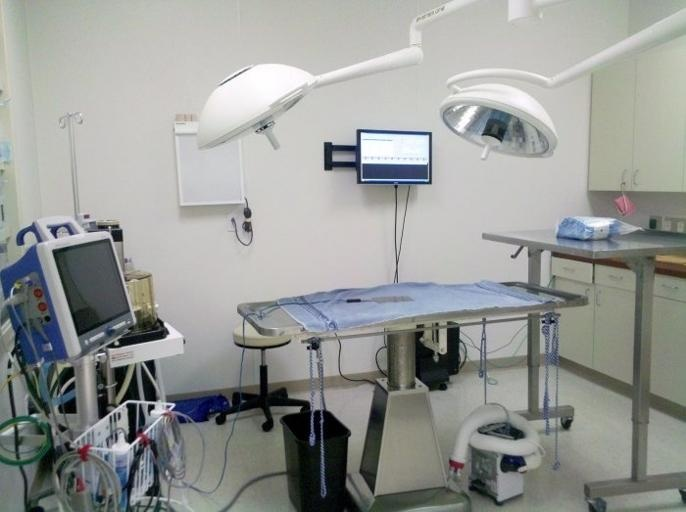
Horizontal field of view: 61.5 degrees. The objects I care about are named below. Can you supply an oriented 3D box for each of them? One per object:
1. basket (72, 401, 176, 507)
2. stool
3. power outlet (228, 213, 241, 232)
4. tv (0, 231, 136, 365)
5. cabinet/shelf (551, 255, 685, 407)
[{"bbox_3d":[-0.980,0.940,2.639,0.308,0.454,0.446,0,7,20],"label":"basket"},{"bbox_3d":[-0.599,0.807,4.274,0.728,0.760,0.780,-2,7,-28],"label":"stool"},{"bbox_3d":[-0.800,-0.239,4.241,0.079,0.126,0.015,-2,7,0],"label":"power outlet"},{"bbox_3d":[-1.196,0.199,2.494,0.264,0.525,0.515,-13,8,10],"label":"tv"},{"bbox_3d":[1.968,0.538,4.048,0.361,0.918,0.990,0,4,-20],"label":"cabinet/shelf"}]
